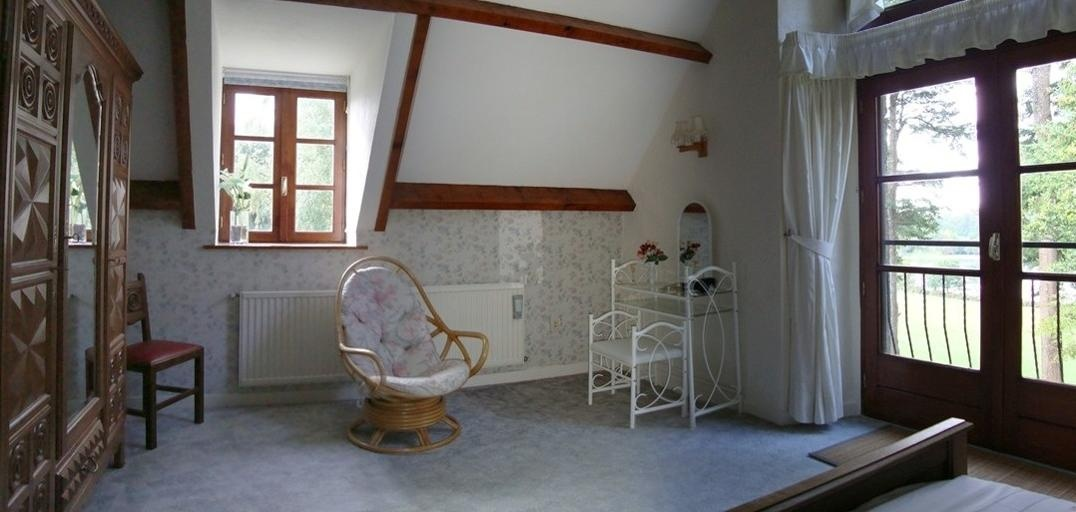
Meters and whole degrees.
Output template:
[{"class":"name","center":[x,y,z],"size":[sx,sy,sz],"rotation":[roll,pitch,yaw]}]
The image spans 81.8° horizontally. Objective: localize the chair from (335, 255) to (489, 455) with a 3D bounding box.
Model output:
[{"class":"chair","center":[-1.385,0.927,6.283],"size":[1.245,1.790,1.109],"rotation":[-2,7,-16]}]

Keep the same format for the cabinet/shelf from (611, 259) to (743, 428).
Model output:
[{"class":"cabinet/shelf","center":[1.327,0.883,6.668],"size":[1.019,1.576,1.397],"rotation":[-6,9,-43]}]

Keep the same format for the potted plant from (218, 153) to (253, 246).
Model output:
[{"class":"potted plant","center":[-3.261,-0.613,6.679],"size":[0.314,0.957,0.316],"rotation":[-3,8,-23]}]

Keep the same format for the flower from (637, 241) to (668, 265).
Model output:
[{"class":"flower","center":[1.283,-0.011,6.962],"size":[0.319,0.247,0.316],"rotation":[-1,-12,3]}]
